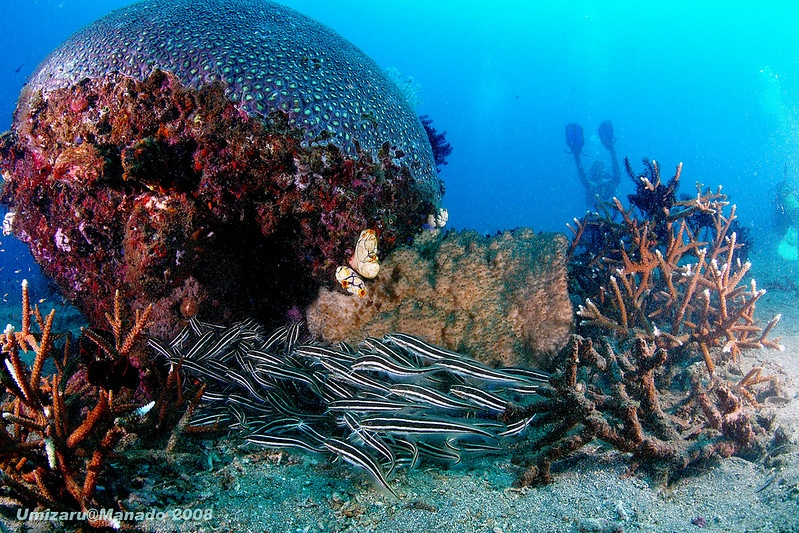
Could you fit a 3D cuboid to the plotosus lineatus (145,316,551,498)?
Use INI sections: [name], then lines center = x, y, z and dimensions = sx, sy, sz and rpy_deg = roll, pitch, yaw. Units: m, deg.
[plotosus lineatus]
center = -0.835, 2.188, 11.456
dimensions = 5.511, 2.254, 1.408
rpy_deg = 2, 7, 11
